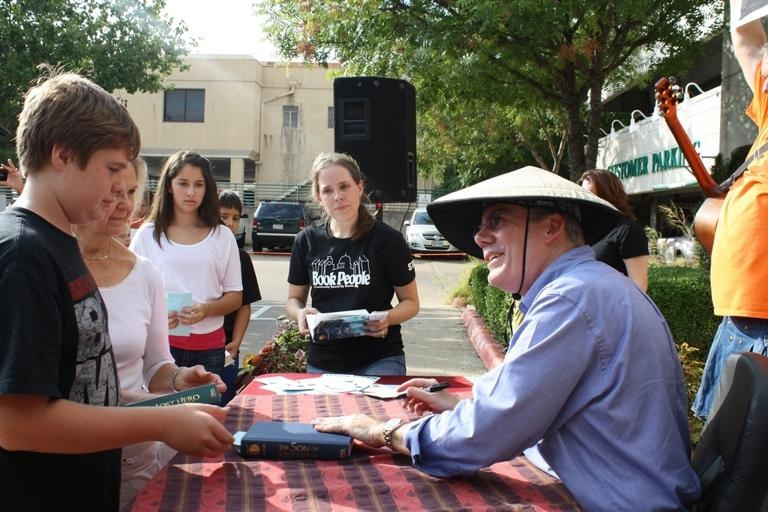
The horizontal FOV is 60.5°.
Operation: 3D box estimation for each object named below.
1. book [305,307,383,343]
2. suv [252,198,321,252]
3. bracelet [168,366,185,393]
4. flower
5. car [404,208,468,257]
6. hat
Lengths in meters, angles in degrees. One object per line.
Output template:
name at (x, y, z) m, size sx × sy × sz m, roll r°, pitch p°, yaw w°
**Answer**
book at (-0.277, 0.447, 4.174) m, size 0.319 × 0.249 × 0.114 m, roll -1°, pitch 3°, yaw -25°
suv at (-3.289, -0.855, 20.292) m, size 1.905 × 1.484 × 3.484 m, roll 0°, pitch 7°, yaw 2°
bracelet at (-1.105, 0.652, 3.463) m, size 0.108 × 0.132 × 0.035 m, roll 0°, pitch -4°, yaw -6°
flower at (-0.952, 0.872, 5.915) m, size 0.307 × 0.635 × 0.475 m, roll 41°, pitch 29°, yaw 15°
car at (1.249, -0.654, 19.276) m, size 1.177 × 1.019 × 2.196 m, roll -1°, pitch -4°, yaw -3°
hat at (0.707, -0.257, 3.165) m, size 0.633 × 0.231 × 0.631 m, roll 8°, pitch -20°, yaw -10°
